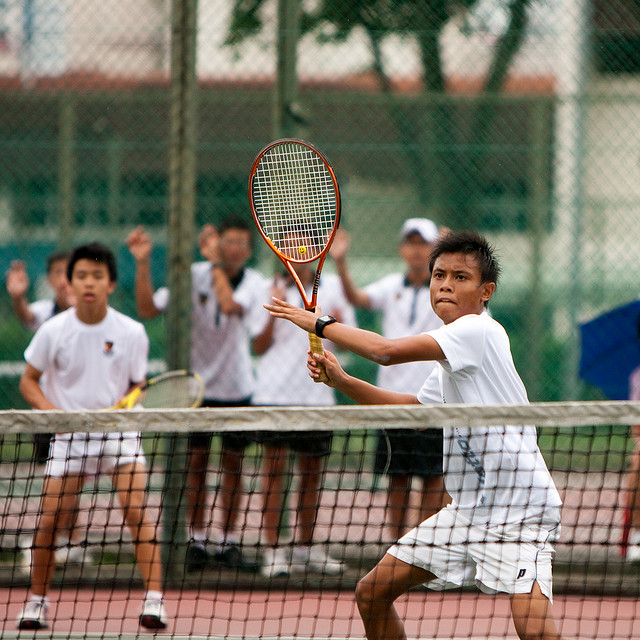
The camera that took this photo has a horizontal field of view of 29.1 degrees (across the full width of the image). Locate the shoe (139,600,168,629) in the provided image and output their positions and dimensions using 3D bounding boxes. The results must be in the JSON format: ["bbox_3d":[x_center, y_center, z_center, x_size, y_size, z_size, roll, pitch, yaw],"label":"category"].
[{"bbox_3d":[-0.823,1.455,6.078,0.092,0.173,0.166,2,-7,-4],"label":"shoe"}]

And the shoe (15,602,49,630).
[{"bbox_3d":[-1.436,1.478,6.150,0.079,0.104,0.236,3,-28,-7],"label":"shoe"}]

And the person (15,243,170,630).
[{"bbox_3d":[-1.154,0.593,6.262,0.864,1.920,0.947,3,7,15],"label":"person"}]
